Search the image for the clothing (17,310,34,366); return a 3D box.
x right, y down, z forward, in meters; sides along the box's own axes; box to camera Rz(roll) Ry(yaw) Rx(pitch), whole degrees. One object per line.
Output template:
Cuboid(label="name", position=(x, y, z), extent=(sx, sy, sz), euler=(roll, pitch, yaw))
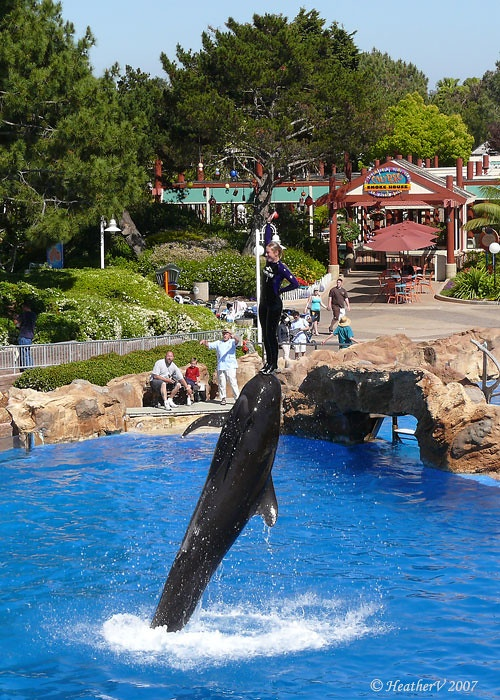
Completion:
Cuboid(label="clothing", position=(-4.853, -0.281, 18.823), extent=(0.379, 1.305, 1.048), euler=(-2, 6, -15))

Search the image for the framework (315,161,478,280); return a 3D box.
Cuboid(label="framework", position=(7.334, -7.224, 41.048), extent=(7.445, 6.167, 7.434), euler=(-1, 9, 7))

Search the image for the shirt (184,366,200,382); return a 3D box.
Cuboid(label="shirt", position=(-1.181, 0.488, 17.935), extent=(0.378, 0.412, 0.256), euler=(1, 4, -4))

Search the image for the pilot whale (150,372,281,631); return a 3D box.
Cuboid(label="pilot whale", position=(-0.184, 1.111, 5.987), extent=(0.421, 2.024, 1.170), euler=(-5, 7, -35))

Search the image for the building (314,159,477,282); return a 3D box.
Cuboid(label="building", position=(7.203, -7.185, 41.903), extent=(7.186, 5.672, 7.646), euler=(-2, 18, 8))
